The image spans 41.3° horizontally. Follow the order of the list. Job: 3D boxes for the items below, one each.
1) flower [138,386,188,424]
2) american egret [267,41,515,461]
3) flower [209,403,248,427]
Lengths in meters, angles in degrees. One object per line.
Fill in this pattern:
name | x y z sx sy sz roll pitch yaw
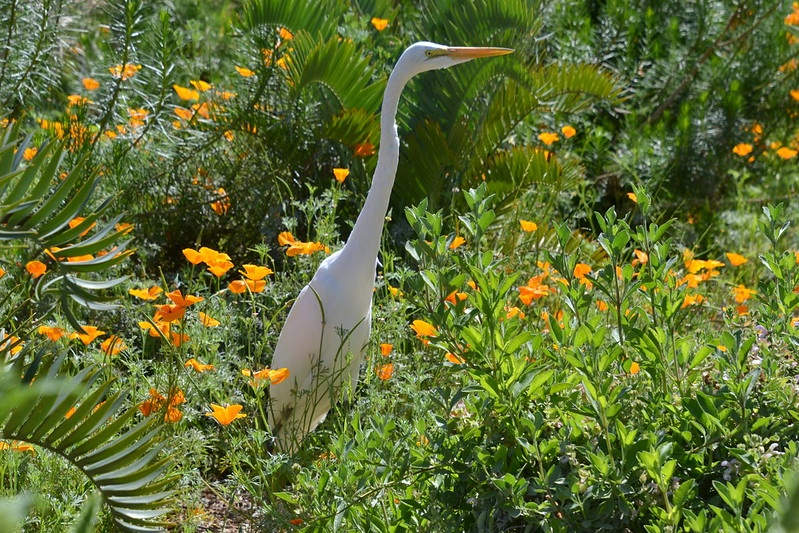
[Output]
flower | -0.928 0.543 4.186 0.138 0.063 0.156 14 45 -10
american egret | -0.056 -0.164 4.784 1.174 0.534 2.020 -11 55 19
flower | -0.654 0.558 3.983 0.097 0.071 0.111 -2 -13 5
